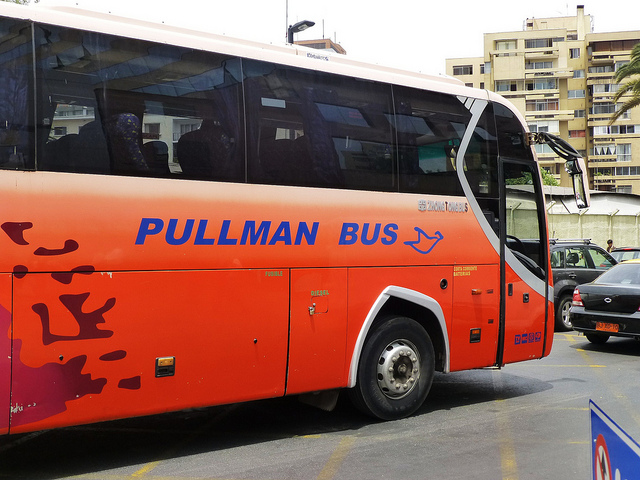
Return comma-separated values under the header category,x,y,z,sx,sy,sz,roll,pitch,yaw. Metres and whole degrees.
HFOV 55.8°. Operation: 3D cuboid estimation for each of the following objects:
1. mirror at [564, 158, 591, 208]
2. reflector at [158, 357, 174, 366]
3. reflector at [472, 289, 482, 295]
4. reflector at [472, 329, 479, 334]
category,x,y,z,sx,sy,sz,roll,pitch,yaw
mirror,3.622,-0.778,8.444,0.319,0.565,0.753,0,0,24
reflector,-1.488,1.176,5.800,0.085,0.086,0.021,1,9,-33
reflector,2.044,0.657,7.797,0.098,0.070,0.071,1,-1,-33
reflector,2.027,1.193,7.795,0.112,0.037,0.003,0,0,-30
